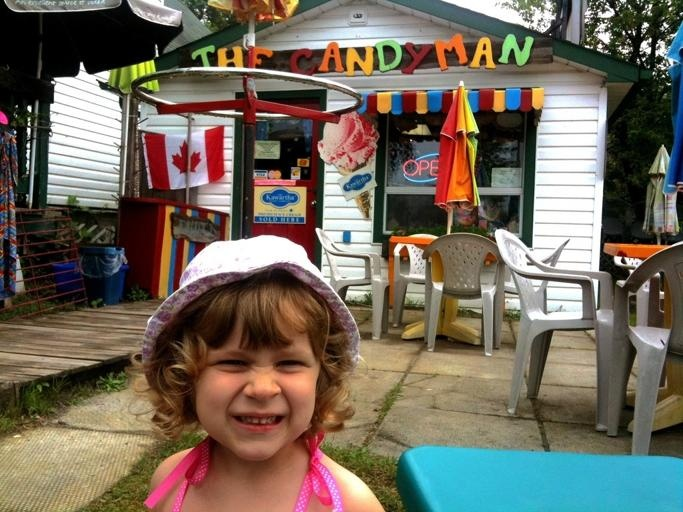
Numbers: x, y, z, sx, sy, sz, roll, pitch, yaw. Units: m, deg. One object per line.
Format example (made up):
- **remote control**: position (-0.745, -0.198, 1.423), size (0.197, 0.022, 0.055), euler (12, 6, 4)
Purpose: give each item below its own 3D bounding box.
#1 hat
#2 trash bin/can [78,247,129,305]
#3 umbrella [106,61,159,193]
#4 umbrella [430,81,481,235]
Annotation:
- **hat**: position (-0.227, 0.054, 1.610), size (0.443, 0.409, 0.470), euler (9, 8, 10)
- **trash bin/can**: position (-2.586, 0.169, 6.452), size (0.551, 0.810, 0.563), euler (-4, 7, -42)
- **umbrella**: position (-2.832, -1.753, 7.748), size (0.519, 2.491, 0.578), euler (2, 8, -7)
- **umbrella**: position (1.225, -1.032, 5.979), size (0.450, 1.573, 0.393), euler (1, 3, -8)
